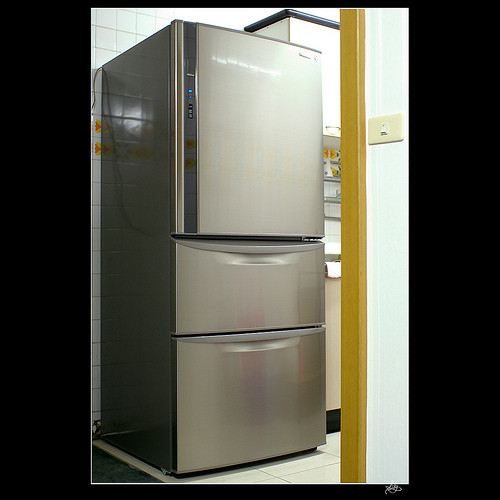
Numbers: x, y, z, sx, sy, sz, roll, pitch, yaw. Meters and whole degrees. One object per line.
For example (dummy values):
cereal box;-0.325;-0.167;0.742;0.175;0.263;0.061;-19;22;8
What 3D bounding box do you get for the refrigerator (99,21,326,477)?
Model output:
refrigerator;-0.243;0.032;2.568;0.784;0.886;1.806;-4;-83;-47
